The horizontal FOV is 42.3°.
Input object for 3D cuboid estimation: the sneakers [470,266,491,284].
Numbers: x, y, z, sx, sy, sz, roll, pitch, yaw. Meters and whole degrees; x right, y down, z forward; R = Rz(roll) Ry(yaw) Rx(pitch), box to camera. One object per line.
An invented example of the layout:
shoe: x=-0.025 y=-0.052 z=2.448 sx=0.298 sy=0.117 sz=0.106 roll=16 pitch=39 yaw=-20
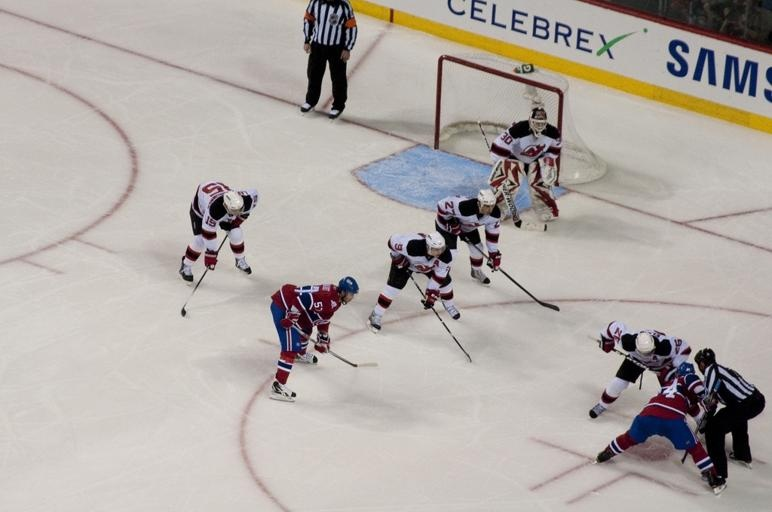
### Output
sneakers: x=1.106 y=0.229 z=11.749 sx=0.182 sy=0.164 sz=0.079 roll=18 pitch=63 yaw=12

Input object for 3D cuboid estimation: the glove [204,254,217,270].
glove: x=-1.978 y=0.071 z=11.269 sx=0.143 sy=0.158 sz=0.063 roll=12 pitch=58 yaw=-18

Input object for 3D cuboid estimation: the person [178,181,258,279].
person: x=-1.862 y=-0.239 z=11.334 sx=0.715 sy=1.247 sz=0.811 roll=-11 pitch=31 yaw=-32

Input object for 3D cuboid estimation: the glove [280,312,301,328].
glove: x=-0.952 y=0.624 z=9.962 sx=0.086 sy=0.104 sz=0.194 roll=-14 pitch=3 yaw=3

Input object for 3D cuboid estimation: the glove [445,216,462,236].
glove: x=0.767 y=-0.339 z=11.308 sx=0.134 sy=0.182 sz=0.172 roll=-19 pitch=1 yaw=-9

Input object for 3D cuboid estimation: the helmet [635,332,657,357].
helmet: x=2.511 y=0.855 z=9.686 sx=0.183 sy=0.215 sz=0.209 roll=-5 pitch=73 yaw=14

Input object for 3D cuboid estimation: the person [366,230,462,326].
person: x=0.354 y=0.207 z=10.869 sx=1.095 sy=1.198 sz=0.753 roll=-2 pitch=29 yaw=-11

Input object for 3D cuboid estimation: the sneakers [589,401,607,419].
sneakers: x=2.150 y=1.537 z=10.126 sx=0.261 sy=0.095 sz=0.092 roll=-28 pitch=51 yaw=-33

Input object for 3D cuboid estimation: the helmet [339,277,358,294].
helmet: x=-0.382 y=0.292 z=10.053 sx=0.185 sy=0.169 sz=0.202 roll=4 pitch=25 yaw=-4

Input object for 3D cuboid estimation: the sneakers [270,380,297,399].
sneakers: x=-1.050 y=1.379 z=10.165 sx=0.309 sy=0.181 sz=0.127 roll=13 pitch=30 yaw=-8

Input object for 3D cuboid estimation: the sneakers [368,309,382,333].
sneakers: x=-0.102 y=0.725 z=11.019 sx=0.109 sy=0.111 sz=0.273 roll=19 pitch=16 yaw=-28

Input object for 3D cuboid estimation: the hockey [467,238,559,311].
hockey: x=1.474 y=0.244 z=11.693 sx=0.167 sy=0.153 sz=1.437 roll=-15 pitch=38 yaw=-36

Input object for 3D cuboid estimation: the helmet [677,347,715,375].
helmet: x=3.007 y=1.003 z=9.583 sx=0.354 sy=0.176 sz=0.198 roll=-21 pitch=38 yaw=18

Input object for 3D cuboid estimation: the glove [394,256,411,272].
glove: x=0.180 y=0.076 z=10.754 sx=0.137 sy=0.143 sz=0.161 roll=-1 pitch=17 yaw=1

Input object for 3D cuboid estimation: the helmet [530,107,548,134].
helmet: x=1.834 y=-1.672 z=12.091 sx=0.257 sy=0.275 sz=0.291 roll=-1 pitch=57 yaw=0

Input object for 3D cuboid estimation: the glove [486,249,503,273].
glove: x=1.234 y=0.040 z=11.475 sx=0.214 sy=0.199 sz=0.098 roll=11 pitch=16 yaw=30

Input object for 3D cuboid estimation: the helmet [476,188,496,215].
helmet: x=1.106 y=-0.596 z=11.038 sx=0.203 sy=0.307 sz=0.299 roll=8 pitch=25 yaw=3

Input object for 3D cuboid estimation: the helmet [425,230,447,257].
helmet: x=0.501 y=-0.127 z=10.470 sx=0.210 sy=0.236 sz=0.235 roll=-16 pitch=68 yaw=-25

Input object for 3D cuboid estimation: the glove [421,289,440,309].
glove: x=0.474 y=0.466 z=10.908 sx=0.181 sy=0.226 sz=0.092 roll=16 pitch=38 yaw=-33

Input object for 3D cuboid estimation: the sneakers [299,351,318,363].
sneakers: x=-0.802 y=1.077 z=10.621 sx=0.219 sy=0.081 sz=0.083 roll=1 pitch=43 yaw=2

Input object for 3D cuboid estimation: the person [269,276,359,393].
person: x=-0.741 y=0.868 z=10.356 sx=0.707 sy=0.900 sz=0.702 roll=21 pitch=39 yaw=-2

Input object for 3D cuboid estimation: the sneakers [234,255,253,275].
sneakers: x=-1.668 y=0.110 z=11.677 sx=0.109 sy=0.122 sz=0.311 roll=-42 pitch=86 yaw=-18

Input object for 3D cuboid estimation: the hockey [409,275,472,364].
hockey: x=0.600 y=0.738 z=11.050 sx=0.049 sy=0.160 sz=1.090 roll=-27 pitch=73 yaw=-21
